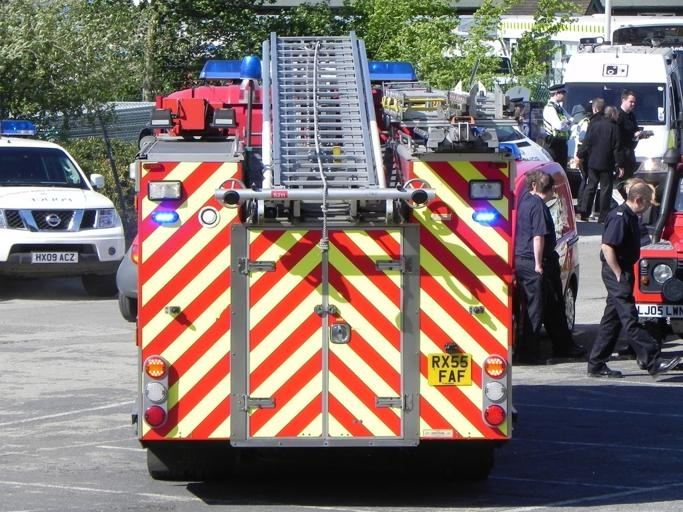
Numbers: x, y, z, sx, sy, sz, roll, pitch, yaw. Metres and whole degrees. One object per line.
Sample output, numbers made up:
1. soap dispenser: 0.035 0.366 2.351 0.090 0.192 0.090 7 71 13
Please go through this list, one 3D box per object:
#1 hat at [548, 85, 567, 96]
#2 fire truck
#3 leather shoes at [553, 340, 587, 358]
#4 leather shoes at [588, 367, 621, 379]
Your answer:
1. hat: 4.623 -3.556 36.732 0.541 0.250 0.551 4 8 21
2. fire truck: -0.277 -0.291 20.743 3.354 2.911 5.057 0 10 -1
3. leather shoes: 3.166 1.330 23.898 0.485 0.202 0.185 -4 21 -2
4. leather shoes: 3.513 1.587 22.875 0.436 0.182 0.172 -3 -1 0
